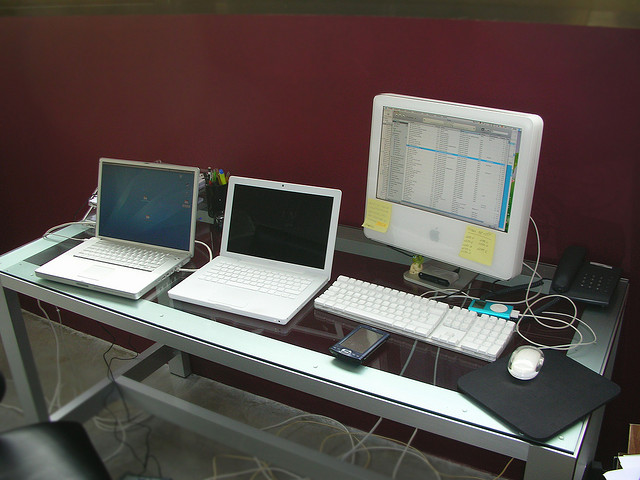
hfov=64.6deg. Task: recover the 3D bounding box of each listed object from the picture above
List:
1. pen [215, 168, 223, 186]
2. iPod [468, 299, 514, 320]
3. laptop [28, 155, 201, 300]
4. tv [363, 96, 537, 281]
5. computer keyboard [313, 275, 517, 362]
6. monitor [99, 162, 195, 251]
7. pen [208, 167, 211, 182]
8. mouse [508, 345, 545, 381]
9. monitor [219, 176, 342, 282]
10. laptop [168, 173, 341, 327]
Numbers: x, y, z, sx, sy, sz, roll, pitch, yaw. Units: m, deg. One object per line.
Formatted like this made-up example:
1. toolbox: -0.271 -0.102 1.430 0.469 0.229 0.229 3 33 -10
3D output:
1. pen: -0.393 -0.244 1.981 0.014 0.073 0.012 -15 7 11
2. iPod: 0.485 0.197 1.450 0.098 0.023 0.058 13 33 28
3. laptop: -0.695 -0.059 1.725 0.457 0.313 0.391 7 24 17
4. tv: 0.399 -0.158 1.528 0.514 0.458 0.053 18 24 34
5. computer keyboard: 0.253 0.218 1.454 0.557 0.074 0.183 13 24 35
6. monitor: -0.622 -0.156 1.943 0.420 0.288 0.307 11 18 8
7. pen: -0.432 -0.252 1.980 0.010 0.043 0.034 1 23 -10
8. mouse: 0.518 0.308 1.274 0.072 0.050 0.101 18 26 30
9. monitor: -0.116 -0.070 1.740 0.460 0.292 0.318 13 16 12
10. laptop: -0.196 0.008 1.578 0.483 0.299 0.446 18 28 37
